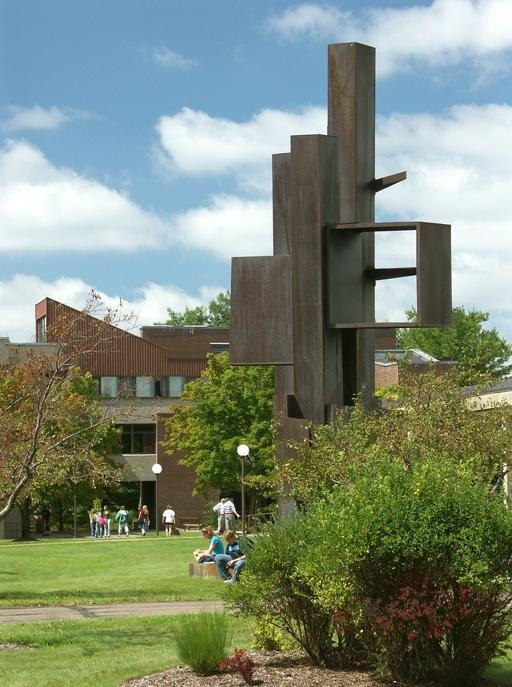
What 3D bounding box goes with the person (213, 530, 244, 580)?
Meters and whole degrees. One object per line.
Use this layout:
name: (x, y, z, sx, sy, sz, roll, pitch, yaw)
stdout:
person: (-0.417, 3.530, 28.569, 0.466, 0.980, 0.509, 0, 5, -34)
